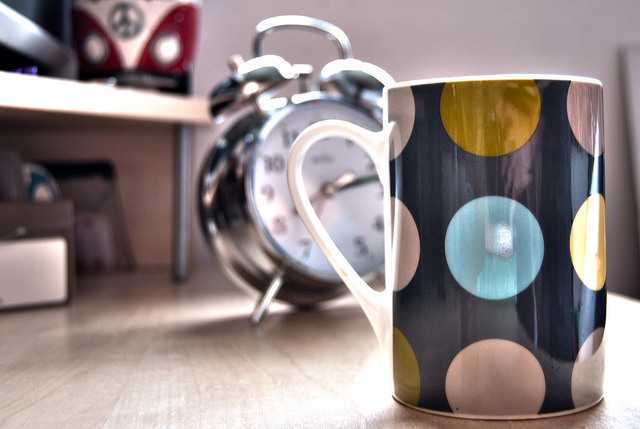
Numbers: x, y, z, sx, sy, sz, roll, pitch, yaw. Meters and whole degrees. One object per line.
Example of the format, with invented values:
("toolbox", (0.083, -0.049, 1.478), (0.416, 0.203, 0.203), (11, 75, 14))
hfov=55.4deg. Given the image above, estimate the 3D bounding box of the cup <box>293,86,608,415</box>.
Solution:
("cup", (0.105, 0.014, 0.535), (0.257, 0.276, 0.174), (-4, 10, -4))
